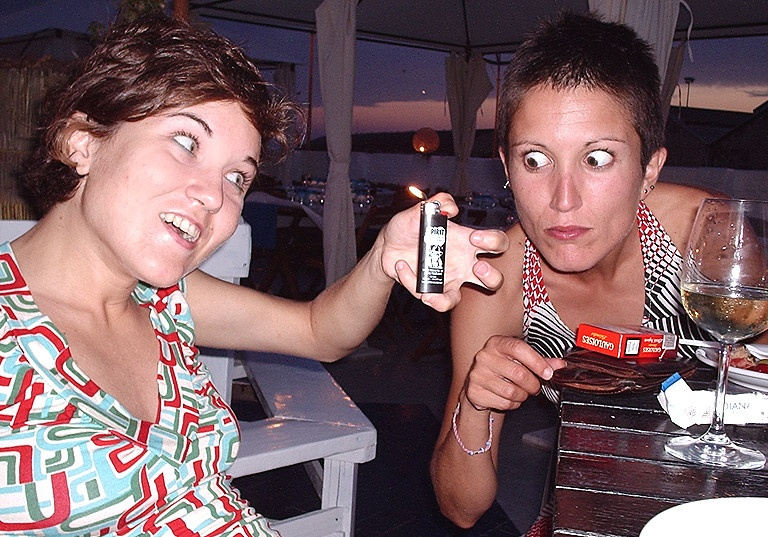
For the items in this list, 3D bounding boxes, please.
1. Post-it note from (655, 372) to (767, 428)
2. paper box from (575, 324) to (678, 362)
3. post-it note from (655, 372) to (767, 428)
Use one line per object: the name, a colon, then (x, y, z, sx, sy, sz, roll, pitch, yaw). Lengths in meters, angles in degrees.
Post-it note: (0.775, 0.307, 1.273, 0.207, 0.076, 0.123, 0, 10, 1)
paper box: (0.693, 0.210, 1.492, 0.276, 0.107, 0.122, -3, 13, -9)
post-it note: (0.774, 0.305, 1.271, 0.207, 0.076, 0.123, 0, 10, 1)
